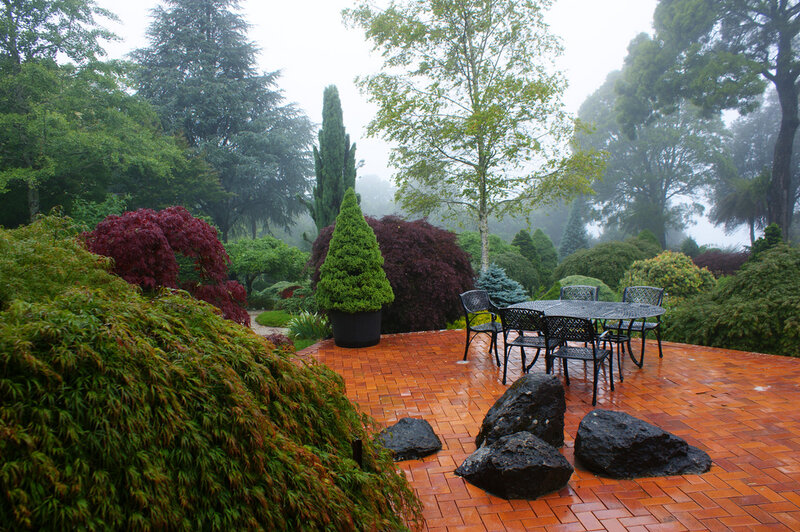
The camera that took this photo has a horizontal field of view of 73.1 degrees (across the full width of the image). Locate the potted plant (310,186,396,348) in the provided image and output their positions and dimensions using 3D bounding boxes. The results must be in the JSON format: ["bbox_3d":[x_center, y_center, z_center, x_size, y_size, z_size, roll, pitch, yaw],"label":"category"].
[{"bbox_3d":[-0.810,0.057,9.262,1.220,2.677,0.821,-4,14,-3],"label":"potted plant"}]
